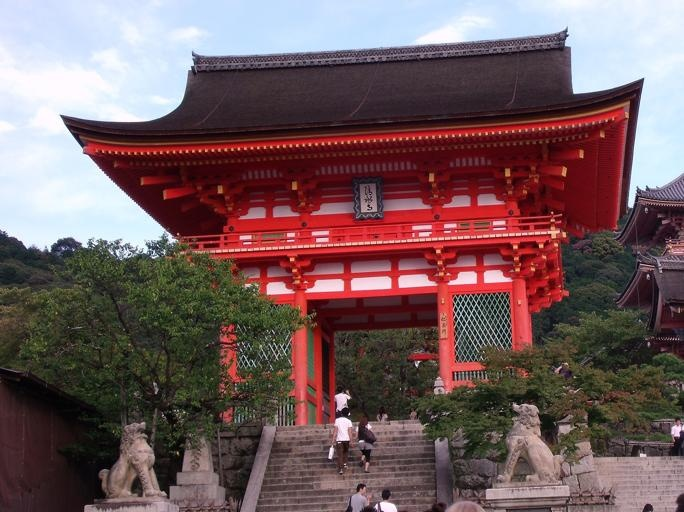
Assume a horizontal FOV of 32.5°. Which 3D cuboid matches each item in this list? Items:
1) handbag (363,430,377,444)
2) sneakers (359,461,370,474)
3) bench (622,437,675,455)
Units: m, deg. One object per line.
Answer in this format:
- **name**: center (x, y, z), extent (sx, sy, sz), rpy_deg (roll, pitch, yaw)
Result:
- **handbag**: center (0.712, 4.635, 30.170), extent (0.207, 0.358, 0.438), rpy_deg (-12, -19, 34)
- **sneakers**: center (0.582, 5.444, 30.282), extent (0.121, 0.341, 0.154), rpy_deg (-7, -3, 40)
- **bench**: center (9.445, 5.856, 36.124), extent (1.490, 0.638, 1.486), rpy_deg (-4, -16, 12)
